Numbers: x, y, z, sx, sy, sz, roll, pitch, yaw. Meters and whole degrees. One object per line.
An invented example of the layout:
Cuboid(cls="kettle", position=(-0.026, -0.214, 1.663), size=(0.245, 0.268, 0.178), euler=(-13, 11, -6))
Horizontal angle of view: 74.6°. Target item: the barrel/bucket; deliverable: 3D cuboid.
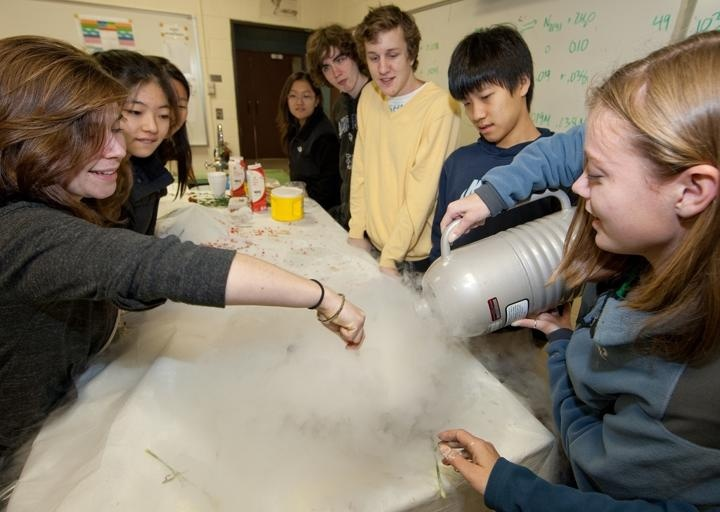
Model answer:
Cuboid(cls="barrel/bucket", position=(0.416, 0.048, 1.515), size=(0.558, 0.297, 0.247), euler=(-27, 32, -8))

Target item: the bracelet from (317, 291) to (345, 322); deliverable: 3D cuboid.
Cuboid(cls="bracelet", position=(-0.079, 0.153, 1.366), size=(0.020, 0.078, 0.077), euler=(19, 26, -15))
